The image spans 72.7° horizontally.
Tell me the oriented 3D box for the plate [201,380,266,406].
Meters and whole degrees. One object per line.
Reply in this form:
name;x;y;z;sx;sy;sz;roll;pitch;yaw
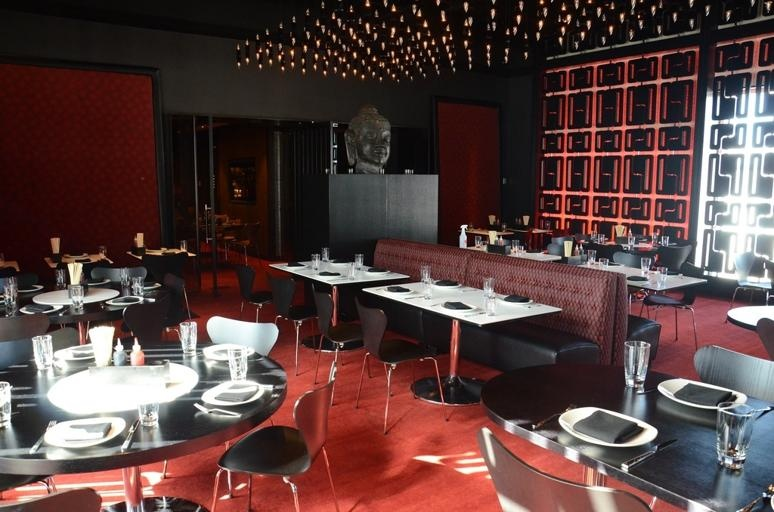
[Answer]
plate;-0.979;0.860;3.356;0.391;0.076;0.280;-2;9;-15

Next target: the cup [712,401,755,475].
cup;1.834;0.939;2.777;0.153;0.290;0.232;7;12;34

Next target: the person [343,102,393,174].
person;-0.306;-1.763;8.287;0.677;0.921;0.349;0;10;-1

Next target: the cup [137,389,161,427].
cup;-1.420;0.865;3.109;0.135;0.219;0.139;8;-5;1

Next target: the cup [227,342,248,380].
cup;-0.977;0.685;3.500;0.152;0.254;0.148;3;10;-1

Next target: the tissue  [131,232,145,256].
tissue ;-4.025;-0.200;8.492;0.142;0.412;0.403;-4;8;-33

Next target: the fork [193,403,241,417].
fork;-1.030;0.928;3.185;0.375;0.056;0.053;-1;4;21

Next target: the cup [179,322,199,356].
cup;-1.474;0.585;3.918;0.112;0.246;0.202;-5;11;-25

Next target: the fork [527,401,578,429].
fork;0.971;0.930;3.081;0.292;0.025;0.034;-12;19;-42

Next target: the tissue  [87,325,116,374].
tissue ;-1.976;0.644;3.626;0.136;0.219;0.143;-3;-5;-24

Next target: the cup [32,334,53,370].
cup;-2.404;0.674;3.680;0.142;0.233;0.135;-10;-4;-1

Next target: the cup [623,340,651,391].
cup;1.616;0.679;3.399;0.138;0.311;0.215;5;11;25
